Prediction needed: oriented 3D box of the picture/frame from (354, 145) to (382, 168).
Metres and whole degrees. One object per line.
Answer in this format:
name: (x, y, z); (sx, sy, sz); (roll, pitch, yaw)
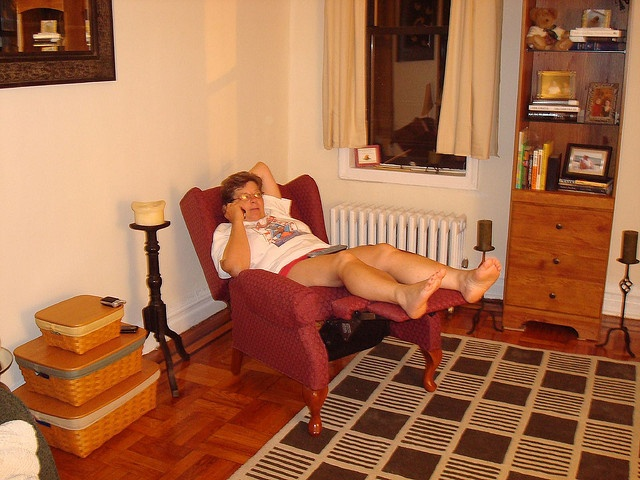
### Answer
picture/frame: (0.438, -0.746, 4.539); (0.196, 0.175, 0.027); (3, 9, 23)

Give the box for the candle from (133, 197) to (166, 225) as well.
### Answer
candle: (-1.027, -0.184, 3.078); (0.163, 0.106, 0.165); (1, 10, 2)

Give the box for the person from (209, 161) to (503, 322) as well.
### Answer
person: (0.030, -0.078, 3.176); (1.916, 0.815, 0.993); (6, 15, 43)

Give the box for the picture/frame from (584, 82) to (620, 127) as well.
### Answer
picture/frame: (2.039, -0.986, 3.670); (0.202, 0.280, 0.317); (8, 20, 29)

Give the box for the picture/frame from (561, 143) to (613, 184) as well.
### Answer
picture/frame: (1.943, -0.549, 3.695); (0.311, 0.304, 0.033); (7, -18, 27)

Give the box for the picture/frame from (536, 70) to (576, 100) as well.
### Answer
picture/frame: (1.761, -1.150, 3.780); (0.242, 0.222, 0.040); (4, 6, 23)

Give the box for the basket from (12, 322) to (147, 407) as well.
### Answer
basket: (-1.361, 0.695, 2.892); (0.460, 0.238, 0.603); (6, 11, 12)

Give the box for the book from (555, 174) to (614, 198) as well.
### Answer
book: (1.908, -0.385, 3.618); (0.390, 0.093, 0.187); (0, 18, 7)

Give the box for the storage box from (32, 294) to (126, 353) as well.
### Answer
storage box: (-1.307, 0.450, 2.749); (0.290, 0.172, 0.371); (8, 18, 30)

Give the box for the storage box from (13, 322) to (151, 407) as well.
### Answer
storage box: (-1.346, 0.689, 2.902); (0.478, 0.239, 0.630); (6, 13, 12)

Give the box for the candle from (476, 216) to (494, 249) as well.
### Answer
candle: (1.196, -0.046, 3.799); (0.195, 0.227, 0.201); (2, 7, 25)

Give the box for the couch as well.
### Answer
couch: (-0.030, 0.281, 3.308); (1.779, 1.278, 1.135); (8, 14, 39)

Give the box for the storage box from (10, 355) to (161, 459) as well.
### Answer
storage box: (-1.208, 0.928, 2.829); (0.397, 0.208, 0.526); (12, 22, 28)

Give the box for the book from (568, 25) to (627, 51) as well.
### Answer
book: (1.927, -1.391, 3.533); (0.361, 0.161, 0.173); (6, 19, 23)

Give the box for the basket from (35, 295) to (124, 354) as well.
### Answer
basket: (-1.297, 0.451, 2.758); (0.291, 0.173, 0.373); (8, 17, 29)
